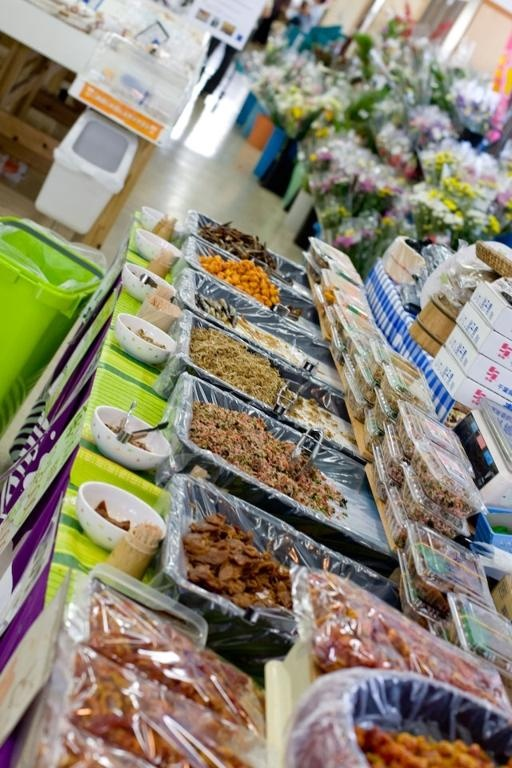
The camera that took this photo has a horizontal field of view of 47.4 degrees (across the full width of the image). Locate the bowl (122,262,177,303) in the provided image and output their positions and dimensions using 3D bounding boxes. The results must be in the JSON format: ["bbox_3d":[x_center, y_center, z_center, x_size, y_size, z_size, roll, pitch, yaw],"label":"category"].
[{"bbox_3d":[-0.466,-0.404,2.401,0.230,0.101,0.166,16,20,-47],"label":"bowl"}]

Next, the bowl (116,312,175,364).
[{"bbox_3d":[-0.399,-0.143,2.052,0.208,0.101,0.210,30,11,-7],"label":"bowl"}]

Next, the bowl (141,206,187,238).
[{"bbox_3d":[-0.521,-0.890,3.195,0.243,0.109,0.244,26,22,-12],"label":"bowl"}]

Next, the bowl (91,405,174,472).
[{"bbox_3d":[-0.321,0.155,1.519,0.221,0.100,0.220,26,12,-6],"label":"bowl"}]

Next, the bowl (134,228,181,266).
[{"bbox_3d":[-0.495,-0.678,2.833,0.212,0.096,0.213,30,17,-10],"label":"bowl"}]
